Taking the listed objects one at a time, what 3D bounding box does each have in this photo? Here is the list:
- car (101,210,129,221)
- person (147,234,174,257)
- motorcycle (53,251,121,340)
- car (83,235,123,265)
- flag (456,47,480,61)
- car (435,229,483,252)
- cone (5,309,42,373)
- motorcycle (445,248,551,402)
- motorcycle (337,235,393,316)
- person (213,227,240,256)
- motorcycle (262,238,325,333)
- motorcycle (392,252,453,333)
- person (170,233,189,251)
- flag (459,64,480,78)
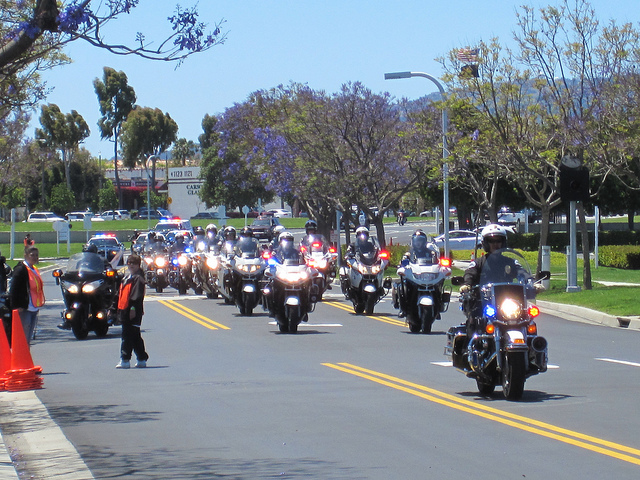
[{"bbox_3d":[-23.035,-2.778,112.217,2.535,1.354,1.731,8,8,24],"label":"car"},{"bbox_3d":[-6.145,0.140,37.706,0.608,0.739,1.239,-1,-1,-5],"label":"person"},{"bbox_3d":[-5.348,1.262,23.091,1.482,2.061,1.188,-1,0,-40],"label":"motorcycle"},{"bbox_3d":[-8.065,0.323,37.361,1.508,1.362,2.662,0,-3,-1],"label":"car"},{"bbox_3d":[5.100,-6.444,34.546,0.300,0.470,1.015,-1,0,-44],"label":"flag"},{"bbox_3d":[7.045,0.041,50.621,2.277,0.924,1.113,4,-2,-5],"label":"car"},{"bbox_3d":[-5.155,1.748,17.404,0.506,1.101,0.702,-1,0,-18],"label":"cone"},{"bbox_3d":[2.883,1.314,15.428,1.200,2.323,0.976,-1,0,25],"label":"motorcycle"},{"bbox_3d":[1.219,0.956,26.930,1.001,2.161,1.751,-1,0,-10],"label":"motorcycle"},{"bbox_3d":[-2.801,-0.081,29.807,0.554,0.769,1.320,2,-5,-5],"label":"person"},{"bbox_3d":[-0.822,0.686,24.487,1.325,2.064,3.527,0,14,-8],"label":"motorcycle"},{"bbox_3d":[2.359,1.225,23.178,1.333,1.848,1.018,-1,0,5],"label":"motorcycle"},{"bbox_3d":[-5.488,0.067,38.849,0.682,0.491,0.921,3,-29,-4],"label":"person"},{"bbox_3d":[5.263,-5.916,34.788,0.302,0.467,0.898,-1,0,-24],"label":"flag"}]
